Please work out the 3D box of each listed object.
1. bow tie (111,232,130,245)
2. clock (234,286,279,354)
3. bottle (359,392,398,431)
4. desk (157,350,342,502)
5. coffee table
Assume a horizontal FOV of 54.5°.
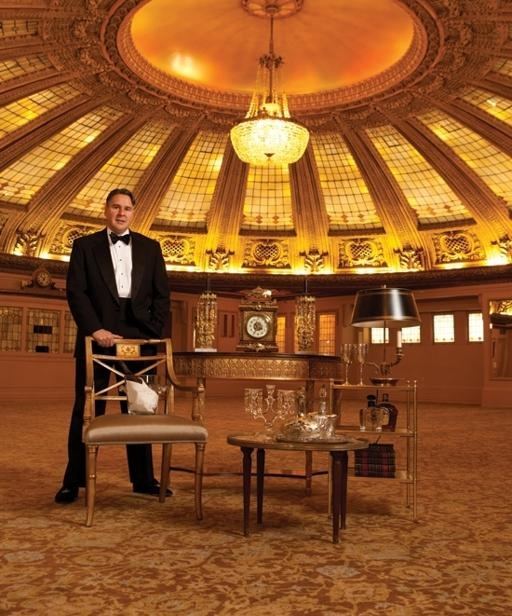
[{"bbox_3d":[-0.915,-0.466,3.349,0.104,0.060,0.011,-1,-3,-26],"label":"bow tie"},{"bbox_3d":[0.014,0.181,8.204,0.635,1.071,0.769,1,-3,-1],"label":"clock"},{"bbox_3d":[0.804,0.692,3.314,0.303,0.261,0.260,-3,-15,14],"label":"bottle"},{"bbox_3d":[-0.059,1.040,4.608,2.044,1.302,1.102,1,-19,-2],"label":"desk"},{"bbox_3d":[0.198,0.848,2.558,0.665,0.364,0.616,0,-16,4],"label":"coffee table"}]
